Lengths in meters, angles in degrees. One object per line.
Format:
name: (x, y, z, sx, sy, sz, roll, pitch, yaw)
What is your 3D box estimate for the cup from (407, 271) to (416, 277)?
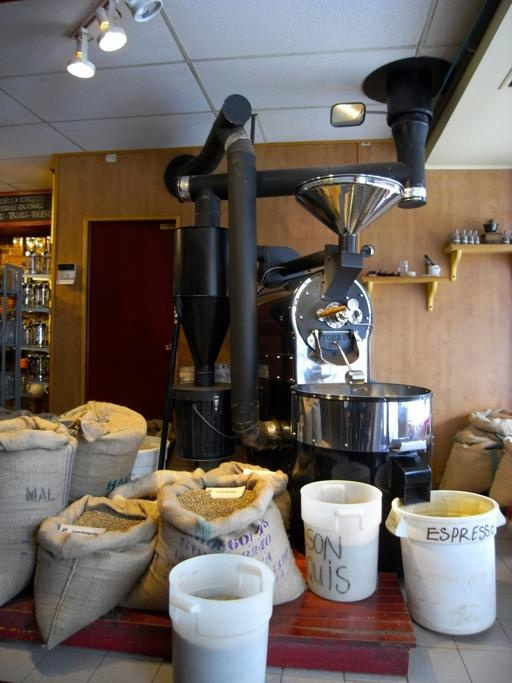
cup: (1.017, -0.429, 3.787, 0.043, 0.030, 0.043, 0, 2, 0)

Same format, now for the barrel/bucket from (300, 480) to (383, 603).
barrel/bucket: (0.280, 0.713, 2.134, 0.321, 0.359, 0.366, 0, 1, 5)

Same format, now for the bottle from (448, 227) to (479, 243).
bottle: (1.355, -0.674, 3.798, 0.140, 0.082, 0.137, 0, 7, 0)

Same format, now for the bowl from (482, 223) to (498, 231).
bowl: (1.519, -0.724, 3.765, 0.068, 0.060, 0.066, -1, 1, 0)

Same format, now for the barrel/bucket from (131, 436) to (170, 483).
barrel/bucket: (-0.637, 0.632, 3.148, 0.178, 0.179, 0.170, 2, -5, 0)

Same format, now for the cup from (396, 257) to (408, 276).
cup: (0.971, -0.478, 3.849, 0.083, 0.122, 0.151, 0, 0, 15)

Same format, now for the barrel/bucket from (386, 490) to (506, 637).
barrel/bucket: (0.675, 0.782, 2.061, 0.384, 0.425, 0.347, 0, 0, -42)

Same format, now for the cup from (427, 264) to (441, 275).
cup: (1.166, -0.462, 3.811, 0.084, 0.073, 0.064, 1, 0, 14)

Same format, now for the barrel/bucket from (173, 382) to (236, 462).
barrel/bucket: (-0.263, 0.420, 3.111, 0.370, 0.337, 0.360, 0, 2, 0)
